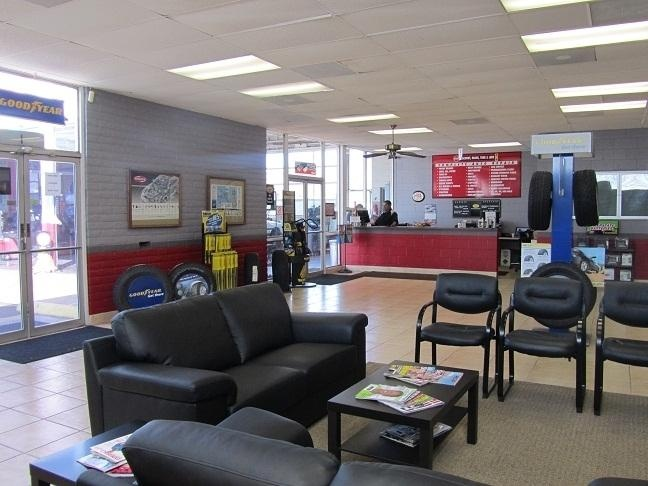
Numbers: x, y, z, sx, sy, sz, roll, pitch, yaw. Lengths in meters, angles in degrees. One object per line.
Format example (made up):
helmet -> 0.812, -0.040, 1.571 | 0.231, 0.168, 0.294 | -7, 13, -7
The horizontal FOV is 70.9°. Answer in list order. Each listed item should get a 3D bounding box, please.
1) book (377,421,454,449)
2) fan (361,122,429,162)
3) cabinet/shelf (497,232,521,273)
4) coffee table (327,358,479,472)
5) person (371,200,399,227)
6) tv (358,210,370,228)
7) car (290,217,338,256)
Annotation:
book -> 0.600, 1.281, 3.083 | 0.239, 0.044, 0.233 | -3, 3, -44
fan -> 1.451, -2.171, 9.890 | 1.458, 0.616, 1.273 | -4, 8, -32
cabinet/shelf -> 4.895, 0.264, 12.005 | 0.517, 0.876, 1.076 | 2, 7, 22
coffee table -> 0.480, 1.153, 3.015 | 0.619, 0.408, 0.882 | 1, 3, 29
person -> 1.548, -0.746, 11.598 | 0.564, 0.617, 0.876 | 0, 6, 6
tv -> 1.030, -0.645, 11.707 | 0.369, 0.390, 0.149 | -6, 8, -36
car -> -0.123, -0.107, 10.711 | 0.697, 0.955, 2.501 | 0, 6, 8
